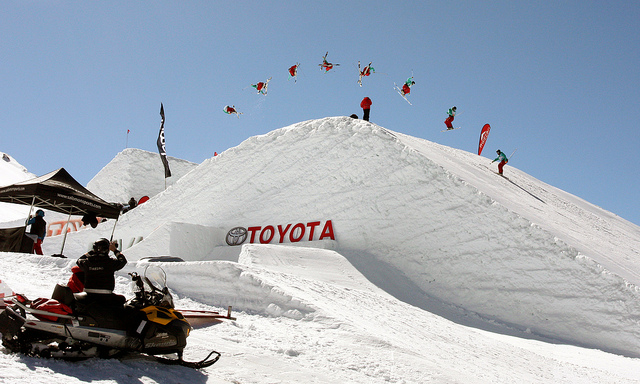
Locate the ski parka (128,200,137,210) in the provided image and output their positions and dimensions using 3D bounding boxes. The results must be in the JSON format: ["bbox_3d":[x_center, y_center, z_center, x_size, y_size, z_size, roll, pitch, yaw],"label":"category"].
[{"bbox_3d":[-12.882,0.869,30.863,0.596,0.660,0.388,4,-36,-17],"label":"ski parka"}]

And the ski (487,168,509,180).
[{"bbox_3d":[10.727,-1.103,27.122,1.568,0.207,0.089,28,-38,-13],"label":"ski"}]

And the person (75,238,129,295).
[{"bbox_3d":[-4.152,1.417,8.512,0.811,1.048,0.366,12,7,-21],"label":"person"}]

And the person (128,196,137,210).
[{"bbox_3d":[-13.663,0.771,32.643,0.469,0.846,0.399,1,0,7],"label":"person"}]

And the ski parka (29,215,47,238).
[{"bbox_3d":[-9.738,1.139,15.534,0.434,0.839,0.467,11,7,-30],"label":"ski parka"}]
